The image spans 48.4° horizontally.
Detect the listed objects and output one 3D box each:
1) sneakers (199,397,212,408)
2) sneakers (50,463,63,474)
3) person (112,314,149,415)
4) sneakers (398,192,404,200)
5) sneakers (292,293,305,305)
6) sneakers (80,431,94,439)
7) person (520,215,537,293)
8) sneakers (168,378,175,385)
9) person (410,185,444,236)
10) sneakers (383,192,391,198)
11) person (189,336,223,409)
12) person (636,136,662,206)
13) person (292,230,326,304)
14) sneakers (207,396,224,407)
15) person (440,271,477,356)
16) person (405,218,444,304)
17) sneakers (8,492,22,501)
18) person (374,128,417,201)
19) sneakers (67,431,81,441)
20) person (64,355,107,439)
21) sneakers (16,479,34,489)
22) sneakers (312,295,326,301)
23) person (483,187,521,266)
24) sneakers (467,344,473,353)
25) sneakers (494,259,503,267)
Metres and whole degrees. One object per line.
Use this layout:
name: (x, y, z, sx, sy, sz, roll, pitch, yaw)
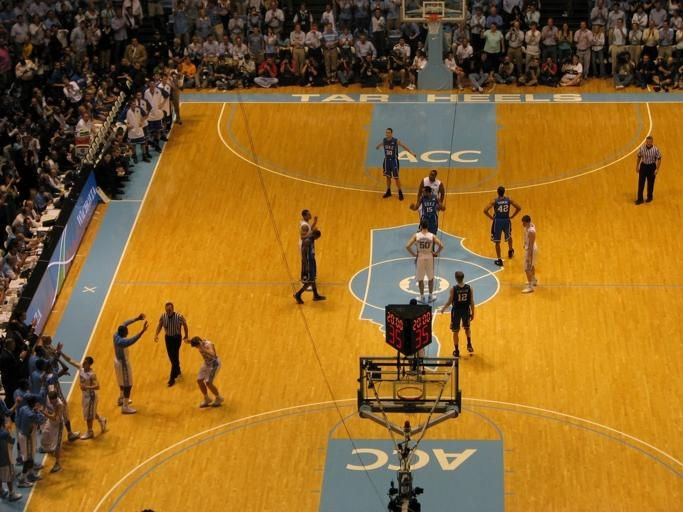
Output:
sneakers: (-2.917, 3.138, 16.180, 0.370, 0.292, 0.133, -2, 6, 35)
sneakers: (-5.495, 4.121, 14.753, 0.210, 0.237, 0.113, 3, 17, 3)
person: (-4.541, 2.468, 16.464, 0.786, 2.182, 0.863, -9, 36, -23)
sneakers: (1.736, -1.717, 21.913, 0.114, 0.240, 0.261, 1, 65, 6)
sneakers: (-1.039, 1.098, 18.796, 0.193, 0.280, 0.105, -18, 3, 4)
sneakers: (-5.126, 3.641, 15.453, 0.303, 0.156, 0.123, 2, 26, -7)
person: (4.566, 0.056, 18.538, 0.408, 1.991, 0.701, 0, 44, 10)
sneakers: (-3.709, 2.793, 16.667, 0.140, 0.156, 0.071, 5, 22, -11)
person: (2.267, -1.043, 19.549, 0.735, 1.733, 0.554, 9, 49, 16)
sneakers: (1.348, -1.758, 22.061, 0.226, 0.239, 0.121, 7, 58, 8)
person: (-2.811, 2.260, 15.975, 0.525, 1.920, 1.029, -9, 27, -12)
person: (8.369, -2.397, 20.779, 0.551, 2.118, 1.316, 8, 29, 21)
person: (-0.806, 0.383, 19.007, 0.656, 1.745, 0.919, 2, 36, 4)
sneakers: (-2.656, 3.068, 16.197, 0.292, 0.268, 0.154, 5, 27, 7)
person: (2.515, 1.242, 16.396, 0.614, 2.027, 0.479, -7, 22, -7)
person: (1.993, 0.107, 17.881, 0.780, 2.073, 0.444, 2, 23, 15)
sneakers: (-6.044, 4.490, 14.141, 0.259, 0.188, 0.106, -5, 52, -23)
person: (1.546, -2.510, 21.329, 1.065, 2.177, 0.624, -1, 31, 6)
sneakers: (-5.410, 3.672, 15.388, 0.071, 0.164, 0.217, 32, 41, 28)
person: (-5.298, 3.028, 15.791, 0.770, 1.750, 0.916, -9, 28, -30)
sneakers: (-5.959, 4.340, 14.394, 0.273, 0.209, 0.120, -3, 38, -14)
sneakers: (-0.534, 1.094, 18.789, 0.338, 0.148, 0.129, 4, 59, -9)
person: (4.019, -0.757, 19.050, 0.814, 2.201, 0.568, -11, 28, -7)
sneakers: (2.882, 2.086, 16.960, 0.142, 0.083, 0.202, 10, -6, 12)
sneakers: (4.027, 0.167, 19.475, 0.194, 0.215, 0.125, 23, 38, 34)
